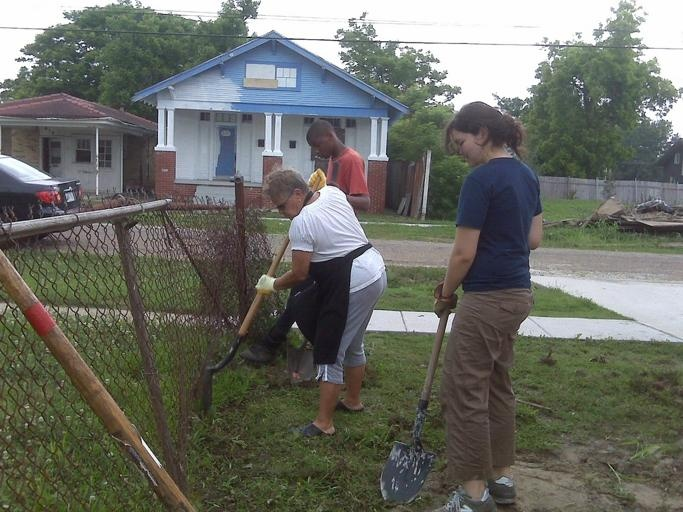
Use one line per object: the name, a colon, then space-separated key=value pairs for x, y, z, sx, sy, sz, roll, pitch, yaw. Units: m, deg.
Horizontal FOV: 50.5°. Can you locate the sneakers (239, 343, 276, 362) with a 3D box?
sneakers: x=-0.734 y=0.864 z=6.473 sx=0.324 sy=0.164 sz=0.135 roll=12 pitch=21 yaw=-21

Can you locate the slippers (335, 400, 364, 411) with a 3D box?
slippers: x=0.070 y=1.222 z=5.924 sx=0.231 sy=0.070 sz=0.089 roll=2 pitch=2 yaw=-3

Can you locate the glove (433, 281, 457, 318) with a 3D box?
glove: x=0.720 y=0.284 z=4.962 sx=0.159 sy=0.236 sz=0.079 roll=23 pitch=16 yaw=34

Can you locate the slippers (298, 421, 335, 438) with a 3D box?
slippers: x=-0.190 y=1.322 z=5.563 sx=0.252 sy=0.084 sz=0.104 roll=8 pitch=-11 yaw=-15

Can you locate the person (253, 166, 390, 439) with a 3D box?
person: x=-0.135 y=0.343 z=5.633 sx=0.939 sy=1.980 sz=0.534 roll=4 pitch=7 yaw=1

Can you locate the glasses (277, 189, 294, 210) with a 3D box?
glasses: x=-0.437 y=-0.430 z=5.562 sx=0.088 sy=0.133 sz=0.073 roll=5 pitch=6 yaw=-4
